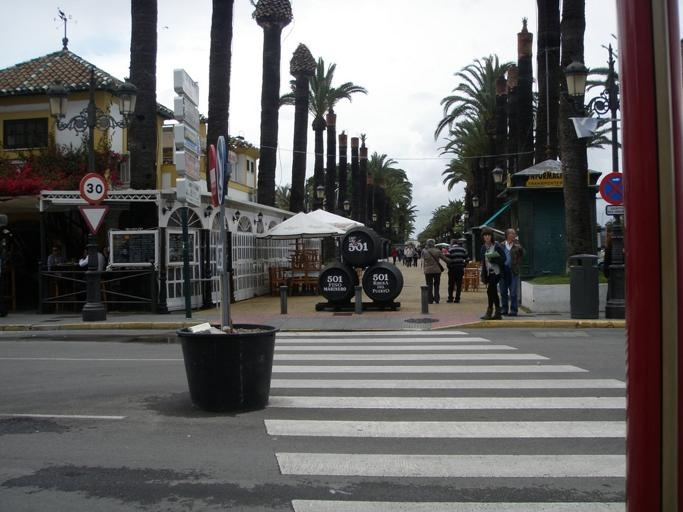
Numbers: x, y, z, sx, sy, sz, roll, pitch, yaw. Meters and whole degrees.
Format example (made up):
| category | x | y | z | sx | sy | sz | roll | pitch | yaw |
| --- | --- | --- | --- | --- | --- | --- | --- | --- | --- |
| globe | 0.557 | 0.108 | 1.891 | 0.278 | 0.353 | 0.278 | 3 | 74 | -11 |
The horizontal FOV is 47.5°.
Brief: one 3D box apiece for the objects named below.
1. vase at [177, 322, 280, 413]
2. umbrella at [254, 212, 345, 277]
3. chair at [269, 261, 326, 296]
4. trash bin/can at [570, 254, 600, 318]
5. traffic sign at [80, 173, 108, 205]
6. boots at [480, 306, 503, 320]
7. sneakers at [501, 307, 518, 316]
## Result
| category | x | y | z | sx | sy | sz | roll | pitch | yaw |
| --- | --- | --- | --- | --- | --- | --- | --- | --- | --- |
| vase | -1.278 | 1.321 | 9.282 | 0.937 | 0.750 | 0.997 | -2 | -2 | 5 |
| umbrella | -1.766 | -0.465 | 29.300 | 2.422 | 1.242 | 2.356 | -1 | -6 | -30 |
| chair | -1.806 | 0.900 | 28.924 | 1.290 | 0.896 | 1.379 | 0 | 1 | 6 |
| trash bin/can | 5.518 | 0.696 | 17.606 | 0.612 | 1.436 | 0.447 | -1 | 0 | 16 |
| traffic sign | -6.103 | -1.670 | 19.073 | 0.575 | 0.800 | 0.581 | -1 | 0 | -13 |
| boots | 3.401 | 1.311 | 17.666 | 0.477 | 0.257 | 0.428 | -1 | 0 | -13 |
| sneakers | 4.053 | 1.335 | 18.521 | 0.411 | 0.311 | 0.144 | -2 | 8 | -24 |
